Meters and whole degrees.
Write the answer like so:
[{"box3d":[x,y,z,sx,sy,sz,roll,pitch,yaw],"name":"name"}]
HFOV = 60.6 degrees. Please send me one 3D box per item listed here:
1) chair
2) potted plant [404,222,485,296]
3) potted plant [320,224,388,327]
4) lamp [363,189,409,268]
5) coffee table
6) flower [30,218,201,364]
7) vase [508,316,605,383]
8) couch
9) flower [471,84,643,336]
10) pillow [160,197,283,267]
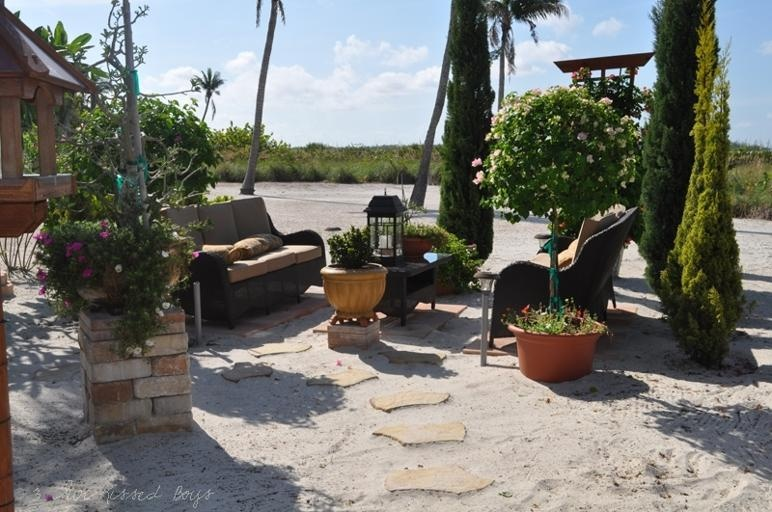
[{"box3d":[2.210,0.183,8.115,1.610,1.515,1.493,2,6,19],"name":"chair"},{"box3d":[0.976,0.054,10.825,1.076,0.972,1.195,3,0,-3],"name":"potted plant"},{"box3d":[-0.423,0.250,8.149,1.051,1.426,0.621,2,-3,0],"name":"potted plant"},{"box3d":[0.020,-0.345,8.993,0.428,1.086,0.748,4,-2,-23],"name":"lamp"},{"box3d":[-0.080,0.437,9.513,1.249,0.812,1.807,3,7,24],"name":"coffee table"},{"box3d":[-2.510,0.167,6.396,1.297,1.290,1.186,4,7,21],"name":"flower"},{"box3d":[1.802,1.054,7.008,0.917,0.537,0.290,0,9,5],"name":"vase"},{"box3d":[-1.862,0.092,9.502,2.228,1.761,3.670,4,8,31],"name":"couch"},{"box3d":[1.984,-0.414,7.333,1.736,2.871,1.002,-1,9,0],"name":"flower"},{"box3d":[-2.297,-0.379,9.488,2.142,1.032,1.201,0,-1,-13],"name":"pillow"}]
